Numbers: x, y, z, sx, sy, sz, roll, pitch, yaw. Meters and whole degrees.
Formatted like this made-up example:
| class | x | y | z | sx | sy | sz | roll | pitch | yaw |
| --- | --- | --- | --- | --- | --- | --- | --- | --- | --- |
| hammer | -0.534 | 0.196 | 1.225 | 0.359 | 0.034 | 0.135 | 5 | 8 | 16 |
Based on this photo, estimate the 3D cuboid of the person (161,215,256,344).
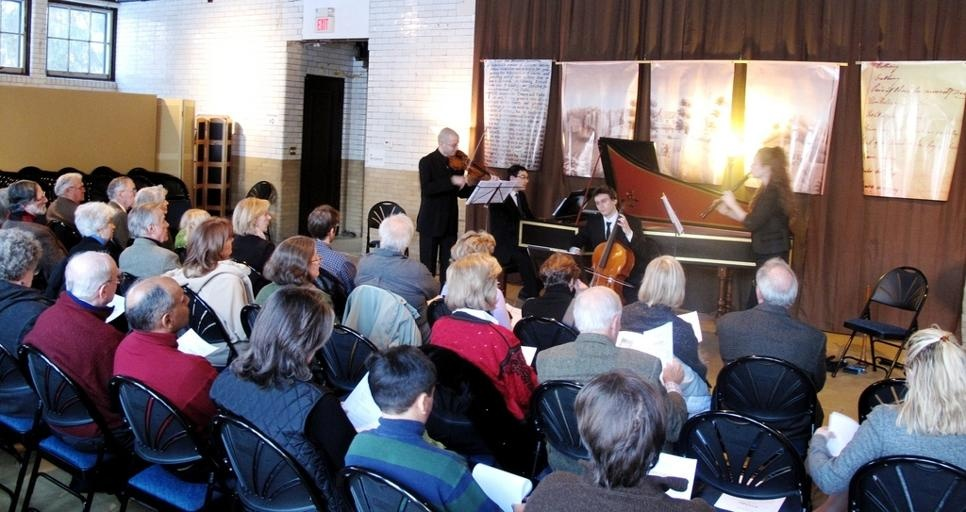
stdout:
| class | x | y | z | sx | sy | sz | roll | pitch | yaw |
| --- | --- | --- | --- | --- | --- | --- | --- | --- | --- |
| person | -2.369 | 0.189 | 5.572 | 1.045 | 0.959 | 0.551 | 13 | 23 | 28 |

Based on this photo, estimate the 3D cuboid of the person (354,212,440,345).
| class | x | y | z | sx | sy | sz | roll | pitch | yaw |
| --- | --- | --- | --- | --- | --- | --- | --- | --- | --- |
| person | -0.837 | 0.341 | 5.852 | 0.758 | 1.326 | 0.686 | 16 | 27 | 25 |

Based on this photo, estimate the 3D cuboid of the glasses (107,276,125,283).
| class | x | y | z | sx | sy | sz | roll | pitch | yaw |
| --- | --- | --- | --- | --- | --- | --- | --- | --- | --- |
| glasses | -2.859 | 0.191 | 4.860 | 0.127 | 0.034 | 0.124 | 1 | 5 | 21 |

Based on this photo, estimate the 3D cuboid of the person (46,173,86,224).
| class | x | y | z | sx | sy | sz | roll | pitch | yaw |
| --- | --- | --- | --- | --- | --- | --- | --- | --- | --- |
| person | -5.109 | -0.695 | 7.692 | 0.380 | 0.579 | 0.714 | 1 | -4 | -41 |

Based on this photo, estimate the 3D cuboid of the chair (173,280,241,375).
| class | x | y | z | sx | sy | sz | roll | pitch | yaw |
| --- | --- | --- | --- | --- | --- | --- | --- | --- | --- |
| chair | -2.134 | 0.574 | 4.815 | 0.418 | 0.677 | 0.519 | 26 | 37 | 14 |

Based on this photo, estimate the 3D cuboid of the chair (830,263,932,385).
| class | x | y | z | sx | sy | sz | roll | pitch | yaw |
| --- | --- | --- | --- | --- | --- | --- | --- | --- | --- |
| chair | 4.438 | 0.750 | 6.939 | 0.907 | 1.142 | 0.750 | -5 | 11 | -9 |

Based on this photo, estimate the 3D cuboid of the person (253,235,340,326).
| class | x | y | z | sx | sy | sz | roll | pitch | yaw |
| --- | --- | --- | --- | --- | --- | --- | --- | --- | --- |
| person | -1.574 | 0.186 | 5.307 | 0.743 | 0.659 | 0.459 | 11 | 16 | 18 |

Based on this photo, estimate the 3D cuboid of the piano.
| class | x | y | z | sx | sy | sz | roll | pitch | yaw |
| --- | --- | --- | --- | --- | --- | --- | --- | --- | --- |
| piano | 2.698 | -0.266 | 8.181 | 3.925 | 2.571 | 2.272 | 2 | 0 | 28 |

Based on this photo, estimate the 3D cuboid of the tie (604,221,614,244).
| class | x | y | z | sx | sy | sz | roll | pitch | yaw |
| --- | --- | --- | --- | --- | --- | --- | --- | --- | --- |
| tie | 1.519 | -0.282 | 7.473 | 0.056 | 0.195 | 0.121 | 11 | 19 | 23 |

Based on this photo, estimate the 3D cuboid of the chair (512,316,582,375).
| class | x | y | z | sx | sy | sz | roll | pitch | yaw |
| --- | --- | --- | --- | --- | --- | --- | --- | --- | --- |
| chair | 0.500 | 0.653 | 5.197 | 0.402 | 0.615 | 0.463 | 11 | 49 | 13 |

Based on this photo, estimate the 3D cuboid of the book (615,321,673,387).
| class | x | y | z | sx | sy | sz | roll | pitch | yaw |
| --- | --- | --- | --- | --- | --- | --- | --- | --- | --- |
| book | 1.092 | 0.677 | 4.198 | 0.377 | 0.354 | 0.089 | 7 | -26 | 11 |

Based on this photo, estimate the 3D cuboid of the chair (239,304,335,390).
| class | x | y | z | sx | sy | sz | roll | pitch | yaw |
| --- | --- | --- | --- | --- | --- | --- | --- | --- | --- |
| chair | -1.240 | 0.510 | 4.003 | 0.598 | 0.503 | 0.589 | 4 | 15 | -12 |

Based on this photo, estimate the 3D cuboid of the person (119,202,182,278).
| class | x | y | z | sx | sy | sz | roll | pitch | yaw |
| --- | --- | --- | --- | --- | --- | --- | --- | --- | --- |
| person | -3.352 | -0.143 | 6.236 | 0.849 | 0.657 | 0.446 | 5 | 15 | 20 |

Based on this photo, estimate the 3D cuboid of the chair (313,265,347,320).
| class | x | y | z | sx | sy | sz | roll | pitch | yaw |
| --- | --- | --- | --- | --- | --- | --- | --- | --- | --- |
| chair | -1.274 | 0.315 | 5.190 | 0.207 | 0.337 | 0.375 | -31 | 47 | -26 |

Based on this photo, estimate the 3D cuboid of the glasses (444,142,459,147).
| class | x | y | z | sx | sy | sz | roll | pitch | yaw |
| --- | --- | --- | --- | --- | --- | --- | --- | --- | --- |
| glasses | -0.399 | -1.505 | 8.493 | 0.094 | 0.063 | 0.228 | 7 | 10 | 27 |

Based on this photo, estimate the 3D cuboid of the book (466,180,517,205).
| class | x | y | z | sx | sy | sz | roll | pitch | yaw |
| --- | --- | --- | --- | --- | --- | --- | --- | --- | --- |
| book | 0.097 | -0.822 | 8.091 | 0.315 | 0.064 | 0.607 | -37 | -19 | 35 |
